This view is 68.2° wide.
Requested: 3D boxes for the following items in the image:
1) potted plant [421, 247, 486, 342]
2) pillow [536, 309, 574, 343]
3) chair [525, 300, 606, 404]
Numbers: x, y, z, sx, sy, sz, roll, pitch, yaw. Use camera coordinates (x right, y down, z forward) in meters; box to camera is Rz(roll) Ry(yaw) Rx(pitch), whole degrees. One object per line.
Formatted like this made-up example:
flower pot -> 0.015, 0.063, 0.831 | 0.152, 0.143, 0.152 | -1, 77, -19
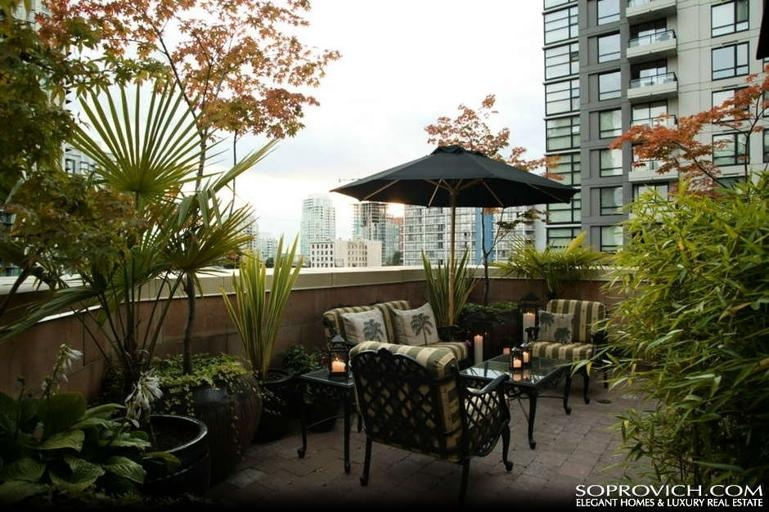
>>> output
potted plant -> 1.007, 0.496, 7.454 | 0.968, 1.427, 0.903 | 5, -9, -19
pillow -> 2.049, 0.857, 6.806 | 0.360, 0.338, 0.135 | 2, -35, 21
chair -> 2.123, 1.081, 6.712 | 0.774, 1.101, 0.648 | 1, -2, 36
